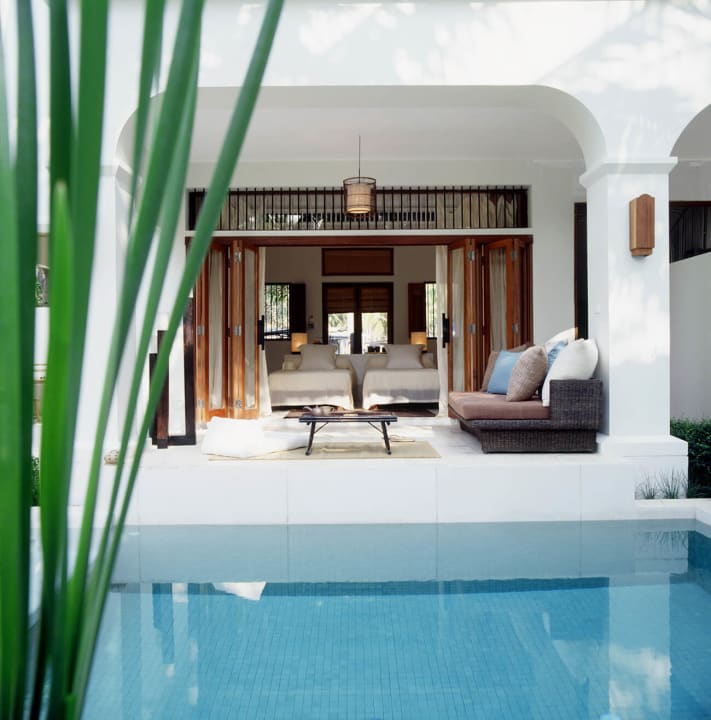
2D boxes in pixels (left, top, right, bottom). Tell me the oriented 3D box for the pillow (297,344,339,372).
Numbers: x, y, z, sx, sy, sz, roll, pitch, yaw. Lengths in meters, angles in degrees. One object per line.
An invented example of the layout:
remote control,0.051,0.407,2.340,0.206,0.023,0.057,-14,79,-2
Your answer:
pillow,-0.525,-0.016,9.140,0.304,0.128,0.418,2,46,0

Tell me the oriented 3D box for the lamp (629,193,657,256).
lamp,1.757,-0.812,4.099,0.145,0.355,0.181,0,1,24

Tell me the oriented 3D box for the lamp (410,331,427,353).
lamp,1.041,-0.285,11.067,0.259,0.417,0.310,1,1,3

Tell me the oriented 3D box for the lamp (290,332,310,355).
lamp,-0.933,-0.275,11.121,0.297,0.769,0.350,-1,5,-8

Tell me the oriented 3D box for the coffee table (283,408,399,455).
coffee table,-0.105,0.468,4.680,0.727,0.342,0.809,1,4,-5

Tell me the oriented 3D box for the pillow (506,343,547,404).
pillow,1.249,0.133,4.914,0.231,0.472,0.577,3,-8,8

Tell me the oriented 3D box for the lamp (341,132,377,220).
lamp,0.043,-1.598,6.116,0.243,0.908,0.302,0,3,-10

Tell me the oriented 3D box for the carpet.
carpet,-0.237,0.556,4.646,1.606,0.198,1.871,-2,-4,-2

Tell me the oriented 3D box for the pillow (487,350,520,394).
pillow,1.218,0.098,5.523,0.082,0.346,0.308,13,-3,-10
